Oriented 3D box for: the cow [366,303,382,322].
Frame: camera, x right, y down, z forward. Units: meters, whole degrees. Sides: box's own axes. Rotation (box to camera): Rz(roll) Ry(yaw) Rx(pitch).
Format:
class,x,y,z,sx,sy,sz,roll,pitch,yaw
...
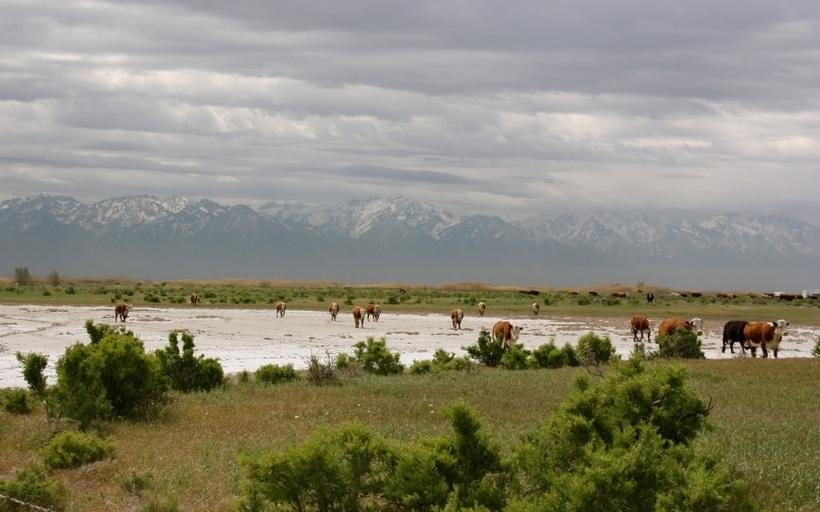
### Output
class,x,y,z,sx,sy,sz,roll,pitch,yaw
cow,-3.507,5.549,111.508,1.099,1.526,3.370,-2,-1,1
